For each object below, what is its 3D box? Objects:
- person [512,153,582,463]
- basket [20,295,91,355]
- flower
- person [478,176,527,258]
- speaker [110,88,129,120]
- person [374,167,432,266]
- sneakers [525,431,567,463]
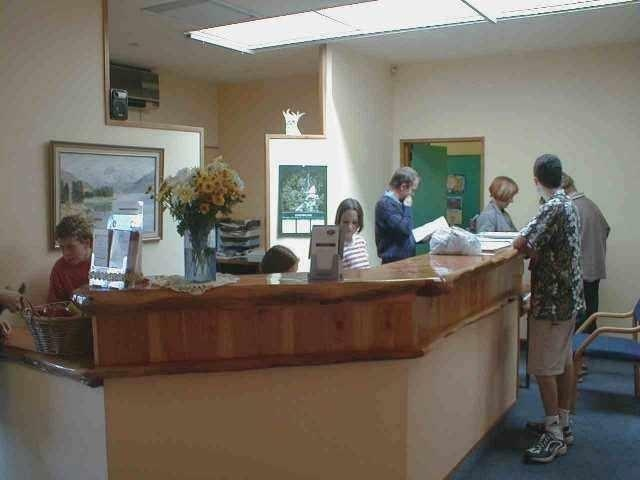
[{"bbox_3d":[1.736,0.495,3.876,0.593,2.261,0.320,-3,5,-37],"label":"person"},{"bbox_3d":[-1.469,0.503,2.908,0.375,0.293,0.399,5,0,24],"label":"basket"},{"bbox_3d":[-0.624,-0.112,2.689,0.431,0.637,0.254,0,5,-13],"label":"flower"},{"bbox_3d":[1.927,-0.322,5.504,0.462,0.857,0.901,-1,3,13],"label":"person"},{"bbox_3d":[-1.756,-1.164,4.451,0.139,0.290,0.227,-1,5,-23],"label":"speaker"},{"bbox_3d":[0.759,-0.235,5.062,0.414,0.974,0.484,1,5,8],"label":"person"},{"bbox_3d":[1.702,1.536,3.890,0.378,0.208,0.147,2,-7,-42],"label":"sneakers"}]
